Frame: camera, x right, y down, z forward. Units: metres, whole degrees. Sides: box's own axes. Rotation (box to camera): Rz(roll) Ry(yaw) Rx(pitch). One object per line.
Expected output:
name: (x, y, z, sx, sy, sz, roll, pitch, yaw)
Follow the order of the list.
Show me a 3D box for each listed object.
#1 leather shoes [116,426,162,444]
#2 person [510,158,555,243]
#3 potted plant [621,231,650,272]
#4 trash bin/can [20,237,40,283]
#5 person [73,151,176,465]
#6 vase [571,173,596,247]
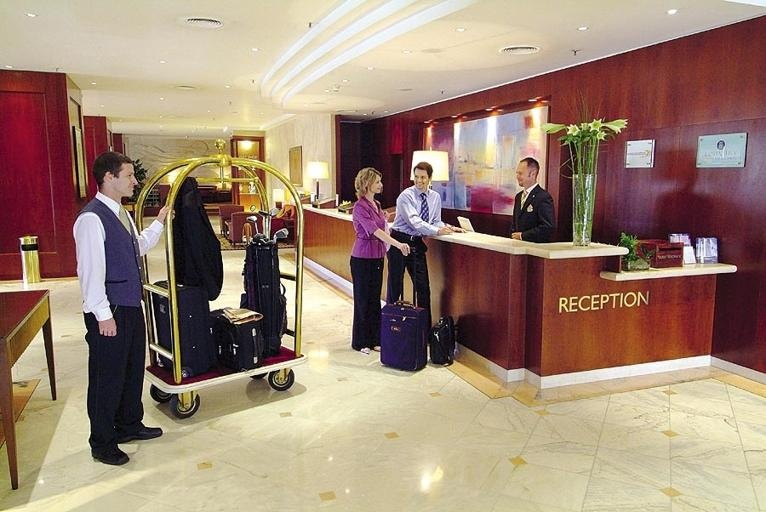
leather shoes: (-2.044, 1.505, 4.384, 0.362, 0.134, 0.128, -3, 8, -30)
person: (1.759, -0.667, 6.127, 0.487, 0.991, 0.758, -1, 10, 14)
potted plant: (2.590, -0.051, 5.377, 0.442, 0.376, 0.234, -10, 12, -36)
trash bin/can: (-6.364, 0.046, 9.390, 0.327, 0.837, 0.415, -10, 12, -34)
person: (-2.105, 0.416, 4.101, 0.363, 2.450, 0.564, 3, 12, 32)
vase: (2.041, -0.479, 5.279, 0.193, 0.726, 0.117, -1, 10, 17)
